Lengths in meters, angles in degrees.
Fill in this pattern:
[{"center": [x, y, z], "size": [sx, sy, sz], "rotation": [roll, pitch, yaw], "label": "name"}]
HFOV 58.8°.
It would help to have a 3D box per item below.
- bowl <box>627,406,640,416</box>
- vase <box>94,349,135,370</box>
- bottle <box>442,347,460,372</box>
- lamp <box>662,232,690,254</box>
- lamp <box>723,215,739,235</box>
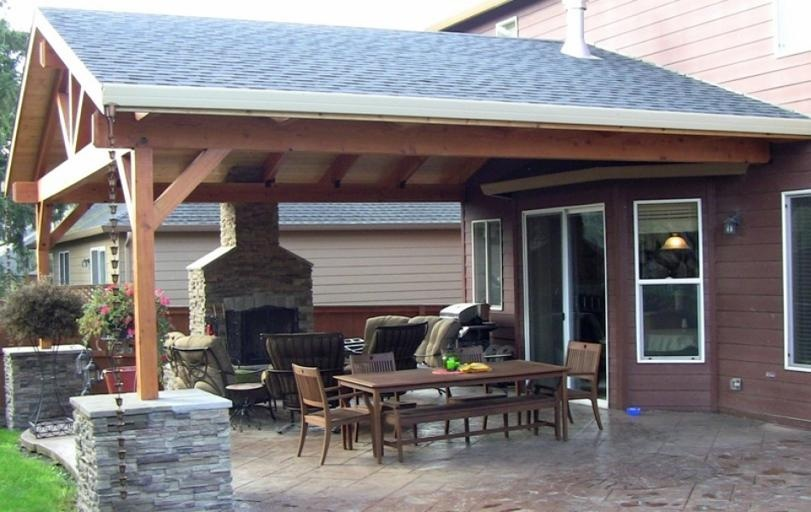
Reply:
[{"center": [3.250, 2.196, 10.234], "size": [0.204, 0.103, 0.172], "rotation": [-1, 10, 9], "label": "bowl"}, {"center": [-4.554, 1.602, 11.201], "size": [0.866, 0.283, 0.873], "rotation": [0, -9, -2], "label": "vase"}, {"center": [0.582, 1.311, 9.140], "size": [0.182, 0.223, 0.322], "rotation": [-4, 10, -4], "label": "bottle"}, {"center": [3.870, -0.175, 10.393], "size": [0.322, 0.156, 0.286], "rotation": [-1, -2, -1], "label": "lamp"}, {"center": [4.549, -0.436, 10.032], "size": [0.302, 0.242, 0.197], "rotation": [1, -1, -26], "label": "lamp"}]
